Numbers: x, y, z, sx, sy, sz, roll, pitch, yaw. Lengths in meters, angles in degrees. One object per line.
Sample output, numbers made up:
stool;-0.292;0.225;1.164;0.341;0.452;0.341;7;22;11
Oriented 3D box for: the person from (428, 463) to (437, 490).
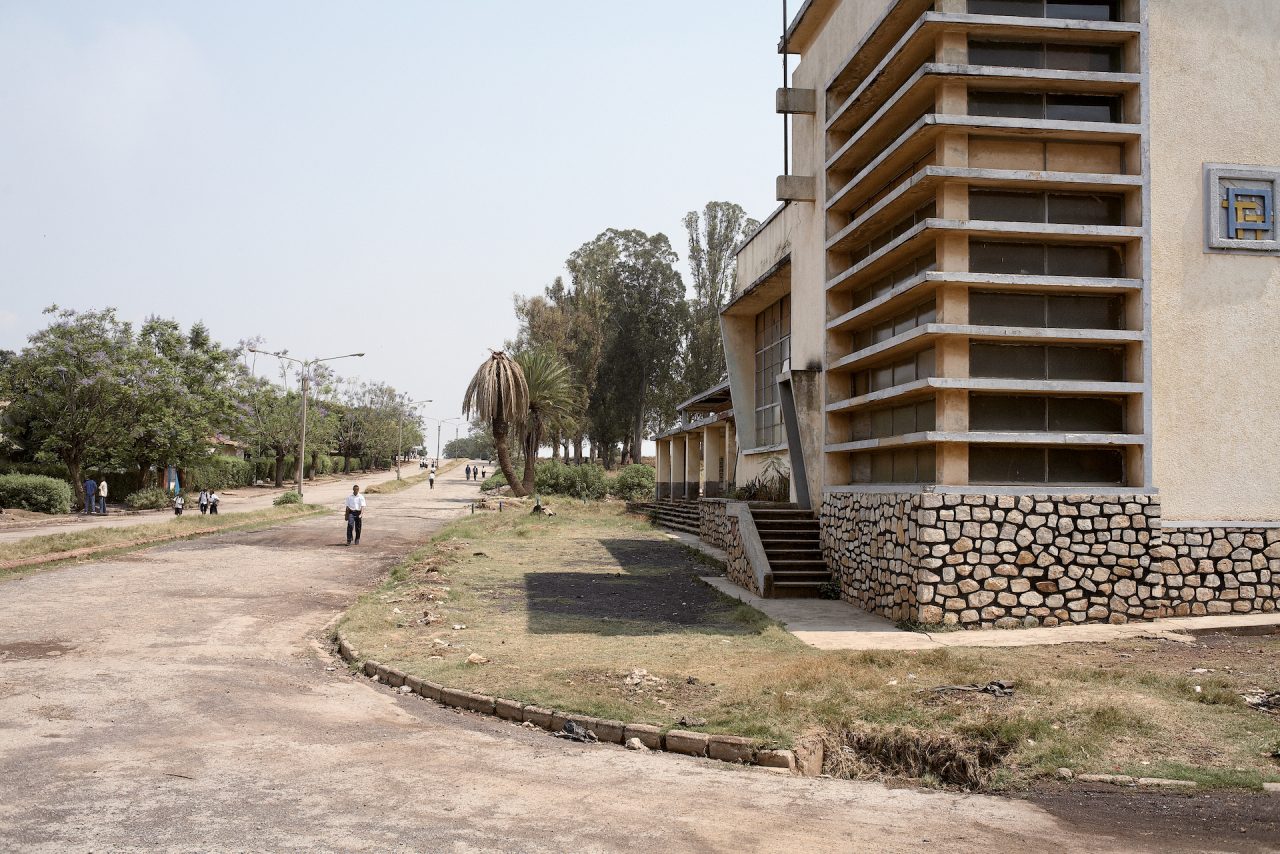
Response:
person;-18.612;4.421;84.100;0.399;1.636;0.874;-3;6;0
